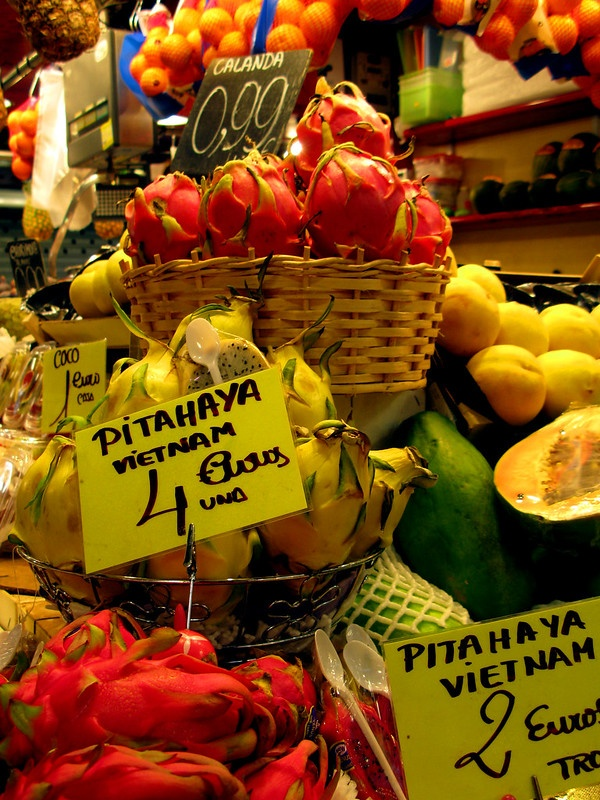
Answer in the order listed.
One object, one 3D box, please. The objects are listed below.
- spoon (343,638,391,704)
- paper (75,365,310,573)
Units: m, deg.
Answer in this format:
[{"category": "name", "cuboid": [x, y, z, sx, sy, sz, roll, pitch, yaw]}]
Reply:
[{"category": "spoon", "cuboid": [0.049, 0.194, 0.452, 0.017, 0.007, 0.055, -4, 23, -22]}, {"category": "paper", "cuboid": [-0.079, 0.058, 0.464, 0.164, 0.102, 0.008, -17, -15, 0]}]
